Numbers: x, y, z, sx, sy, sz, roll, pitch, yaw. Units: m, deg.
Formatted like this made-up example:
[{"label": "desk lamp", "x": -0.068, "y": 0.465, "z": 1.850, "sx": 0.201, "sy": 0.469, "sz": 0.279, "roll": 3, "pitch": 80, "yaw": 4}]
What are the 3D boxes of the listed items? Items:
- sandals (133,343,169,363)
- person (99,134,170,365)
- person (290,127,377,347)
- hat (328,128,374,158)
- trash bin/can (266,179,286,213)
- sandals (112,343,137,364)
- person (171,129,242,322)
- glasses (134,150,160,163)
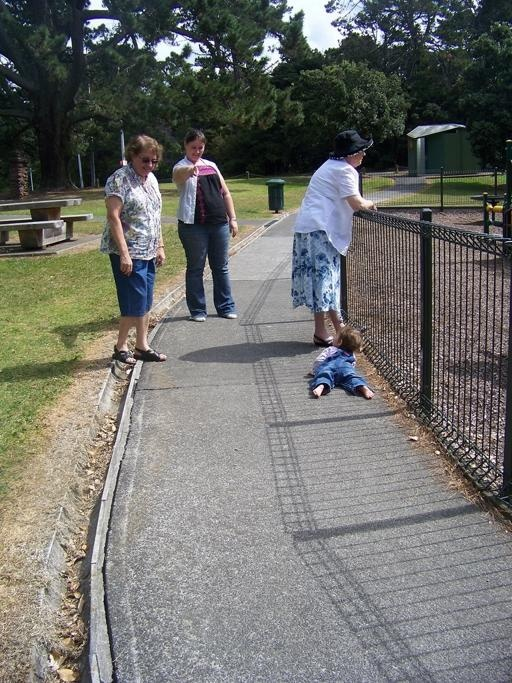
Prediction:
[{"label": "sandals", "x": -0.971, "y": 0.120, "z": 5.071, "sx": 0.290, "sy": 0.120, "sz": 0.114, "roll": 1, "pitch": 21, "yaw": -10}, {"label": "person", "x": -1.033, "y": -0.712, "z": 4.728, "sx": 0.540, "sy": 1.986, "sz": 0.738, "roll": -3, "pitch": 14, "yaw": -11}, {"label": "person", "x": 0.662, "y": -0.860, "z": 4.973, "sx": 0.732, "sy": 1.994, "sz": 0.967, "roll": 2, "pitch": 13, "yaw": 9}, {"label": "hat", "x": 0.810, "y": -1.659, "z": 4.853, "sx": 0.321, "sy": 0.120, "sz": 0.291, "roll": -6, "pitch": 49, "yaw": 36}, {"label": "trash bin/can", "x": 0.711, "y": -5.364, "z": 20.530, "sx": 0.584, "sy": 1.243, "sz": 1.201, "roll": -1, "pitch": 13, "yaw": -1}, {"label": "sandals", "x": -1.195, "y": 0.134, "z": 4.969, "sx": 0.277, "sy": 0.105, "sz": 0.099, "roll": 8, "pitch": 11, "yaw": 42}, {"label": "person", "x": -0.540, "y": -1.196, "z": 6.069, "sx": 0.608, "sy": 2.029, "sz": 0.921, "roll": 4, "pitch": 14, "yaw": 19}, {"label": "glasses", "x": -0.834, "y": -1.435, "z": 4.320, "sx": 0.133, "sy": 0.044, "sz": 0.133, "roll": -21, "pitch": 56, "yaw": -42}]
